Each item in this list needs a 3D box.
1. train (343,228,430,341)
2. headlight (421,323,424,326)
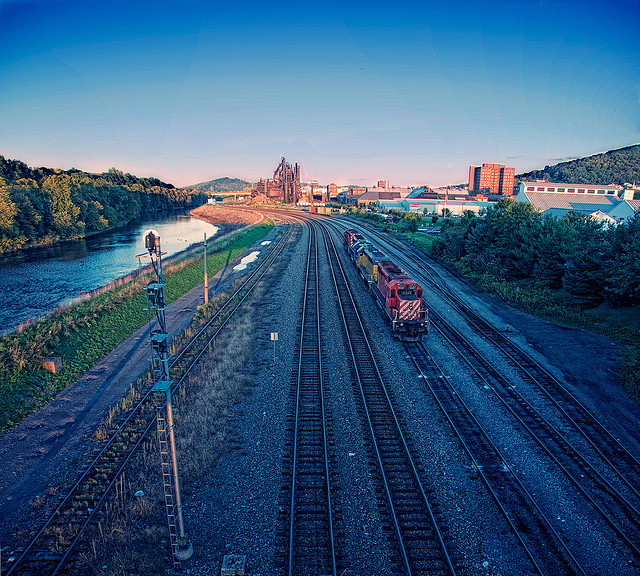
[{"bbox_3d":[4.742,-2.152,44.755,3.281,3.645,24.853,0,20,-7],"label":"train"},{"bbox_3d":[6.852,2.432,32.670,0.184,0.200,0.090,-4,12,-14],"label":"headlight"}]
